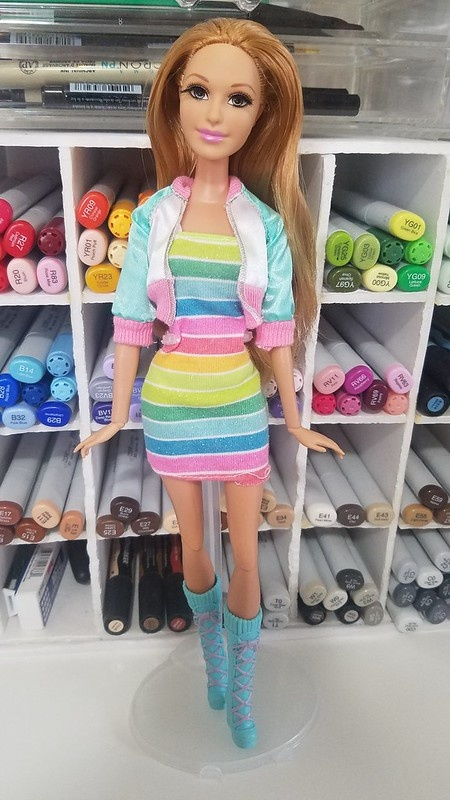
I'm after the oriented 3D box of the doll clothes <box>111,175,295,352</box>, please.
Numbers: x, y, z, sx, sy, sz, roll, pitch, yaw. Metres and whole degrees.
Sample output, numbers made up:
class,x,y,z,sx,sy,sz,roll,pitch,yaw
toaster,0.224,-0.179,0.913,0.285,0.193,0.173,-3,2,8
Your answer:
class,x,y,z,sx,sy,sz,roll,pitch,yaw
doll clothes,-0.017,-0.188,0.908,0.280,0.296,0.153,4,-17,10
